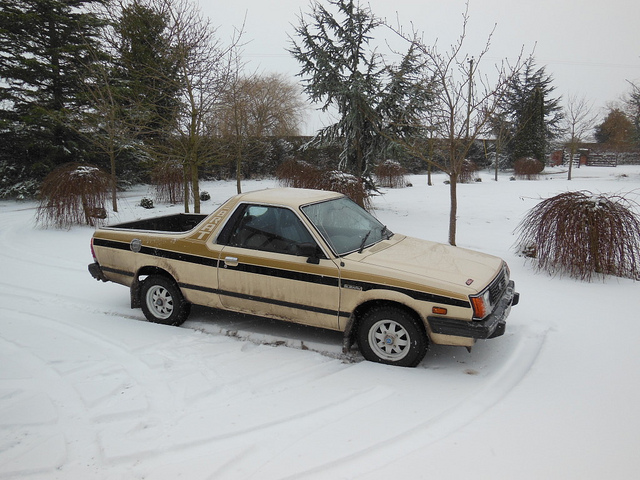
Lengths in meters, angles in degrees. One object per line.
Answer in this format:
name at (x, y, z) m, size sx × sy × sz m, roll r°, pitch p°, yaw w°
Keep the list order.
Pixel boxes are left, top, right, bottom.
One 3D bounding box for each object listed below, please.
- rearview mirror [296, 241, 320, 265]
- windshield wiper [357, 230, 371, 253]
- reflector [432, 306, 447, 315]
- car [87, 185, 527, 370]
rearview mirror at (-0.169, 0.186, 6.030) m, size 0.320 × 0.278 × 0.320 m, roll 9°, pitch -7°, yaw 24°
windshield wiper at (0.625, 0.005, 6.315) m, size 0.089 × 0.063 × 0.443 m, roll 23°, pitch 28°, yaw 6°
reflector at (1.477, 0.852, 5.474) m, size 0.173 × 0.096 × 0.007 m, roll 2°, pitch 7°, yaw 15°
car at (-0.318, 0.199, 7.041) m, size 5.772 × 2.080 × 2.717 m, roll 7°, pitch 19°, yaw 21°
